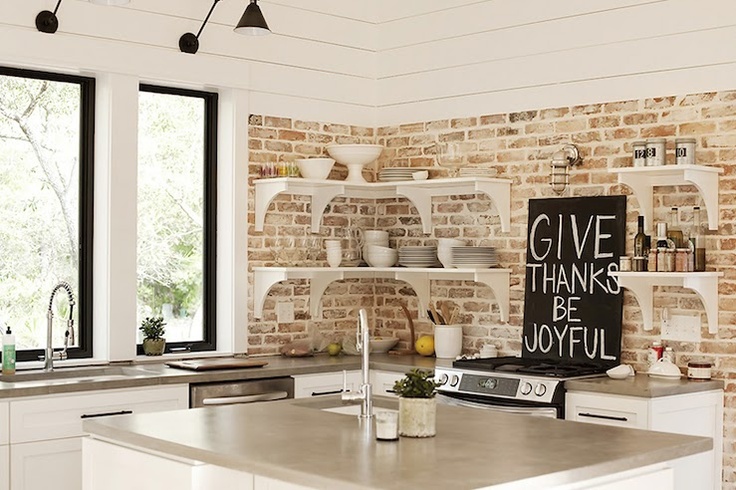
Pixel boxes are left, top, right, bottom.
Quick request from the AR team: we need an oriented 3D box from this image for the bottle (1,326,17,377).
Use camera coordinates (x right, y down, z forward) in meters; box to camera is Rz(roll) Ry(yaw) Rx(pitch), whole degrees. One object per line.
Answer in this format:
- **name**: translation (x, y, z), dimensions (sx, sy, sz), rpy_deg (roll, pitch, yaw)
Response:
- **bottle**: translation (-2.369, 0.714, 3.853), dimensions (0.087, 0.298, 0.075), rpy_deg (2, -5, -13)

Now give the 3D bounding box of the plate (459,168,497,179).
- **plate**: translation (0.934, -0.595, 4.824), dimensions (0.323, 0.111, 0.223), rpy_deg (0, -4, -1)

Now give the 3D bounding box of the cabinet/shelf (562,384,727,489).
- **cabinet/shelf**: translation (1.849, 1.264, 3.724), dimensions (1.070, 0.720, 0.347), rpy_deg (1, -4, -3)

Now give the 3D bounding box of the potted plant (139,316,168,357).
- **potted plant**: translation (-1.666, 0.720, 4.540), dimensions (0.292, 0.336, 0.284), rpy_deg (0, -3, -22)

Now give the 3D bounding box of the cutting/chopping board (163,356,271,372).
- **cutting/chopping board**: translation (-1.155, 0.915, 4.478), dimensions (0.734, 0.038, 0.612), rpy_deg (2, -4, -19)

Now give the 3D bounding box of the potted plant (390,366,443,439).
- **potted plant**: translation (0.193, 0.646, 2.371), dimensions (0.173, 0.275, 0.179), rpy_deg (0, -4, 2)

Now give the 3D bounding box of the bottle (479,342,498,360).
- **bottle**: translation (0.998, 0.895, 4.822), dimensions (0.130, 0.103, 0.119), rpy_deg (0, -2, 0)

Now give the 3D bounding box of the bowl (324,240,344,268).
- **bowl**: translation (-0.257, 0.084, 5.204), dimensions (0.234, 0.251, 0.217), rpy_deg (-2, -2, 0)

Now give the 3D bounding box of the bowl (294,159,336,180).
- **bowl**: translation (-0.454, -0.639, 5.073), dimensions (0.249, 0.110, 0.238), rpy_deg (-1, -5, 0)

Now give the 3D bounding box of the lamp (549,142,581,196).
- **lamp**: translation (1.523, -0.604, 4.552), dimensions (0.266, 0.410, 0.183), rpy_deg (-2, -5, 34)

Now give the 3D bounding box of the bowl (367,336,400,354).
- **bowl**: translation (0.163, 0.944, 5.439), dimensions (0.287, 0.135, 0.423), rpy_deg (0, -4, 2)

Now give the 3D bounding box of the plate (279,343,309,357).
- **plate**: translation (-0.630, 0.925, 5.078), dimensions (0.259, 0.095, 0.249), rpy_deg (1, -4, -9)

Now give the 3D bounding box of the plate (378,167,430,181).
- **plate**: translation (0.278, -0.633, 5.237), dimensions (0.224, 0.075, 0.218), rpy_deg (3, -4, -43)

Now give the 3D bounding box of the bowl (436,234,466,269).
- **bowl**: translation (0.668, 0.047, 4.885), dimensions (0.266, 0.211, 0.243), rpy_deg (1, -3, 0)

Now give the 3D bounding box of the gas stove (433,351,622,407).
- **gas stove**: translation (1.227, 1.044, 4.362), dimensions (1.050, 0.341, 1.350), rpy_deg (0, -7, -38)

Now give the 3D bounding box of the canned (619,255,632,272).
- **canned**: translation (1.776, 0.140, 4.059), dimensions (0.101, 0.092, 0.094), rpy_deg (1, -3, 4)

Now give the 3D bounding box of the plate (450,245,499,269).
- **plate**: translation (0.909, 0.102, 4.871), dimensions (0.409, 0.195, 0.203), rpy_deg (3, -5, -32)

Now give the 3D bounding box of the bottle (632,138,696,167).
- **bottle**: translation (2.031, -0.630, 3.980), dimensions (0.283, 0.125, 0.096), rpy_deg (-1, -4, 23)

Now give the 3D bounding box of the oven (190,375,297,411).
- **oven**: translation (-0.895, 1.065, 4.203), dimensions (0.431, 0.238, 0.274), rpy_deg (2, -5, -35)

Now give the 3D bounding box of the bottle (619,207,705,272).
- **bottle**: translation (2.042, -0.029, 3.996), dimensions (0.286, 0.410, 0.476), rpy_deg (8, -9, -44)

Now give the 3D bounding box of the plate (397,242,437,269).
- **plate**: translation (0.434, 0.110, 5.150), dimensions (0.224, 0.105, 0.244), rpy_deg (4, -6, -39)

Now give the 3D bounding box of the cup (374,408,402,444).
- **cup**: translation (0.079, 0.731, 2.353), dimensions (0.096, 0.106, 0.124), rpy_deg (0, -4, 3)

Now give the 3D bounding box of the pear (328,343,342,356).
- **pear**: translation (-0.290, 0.932, 5.167), dimensions (0.118, 0.109, 0.098), rpy_deg (-16, 6, -18)

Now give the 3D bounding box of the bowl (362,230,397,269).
- **bowl**: translation (0.101, 0.042, 5.230), dimensions (0.317, 0.246, 0.349), rpy_deg (0, -12, 1)
